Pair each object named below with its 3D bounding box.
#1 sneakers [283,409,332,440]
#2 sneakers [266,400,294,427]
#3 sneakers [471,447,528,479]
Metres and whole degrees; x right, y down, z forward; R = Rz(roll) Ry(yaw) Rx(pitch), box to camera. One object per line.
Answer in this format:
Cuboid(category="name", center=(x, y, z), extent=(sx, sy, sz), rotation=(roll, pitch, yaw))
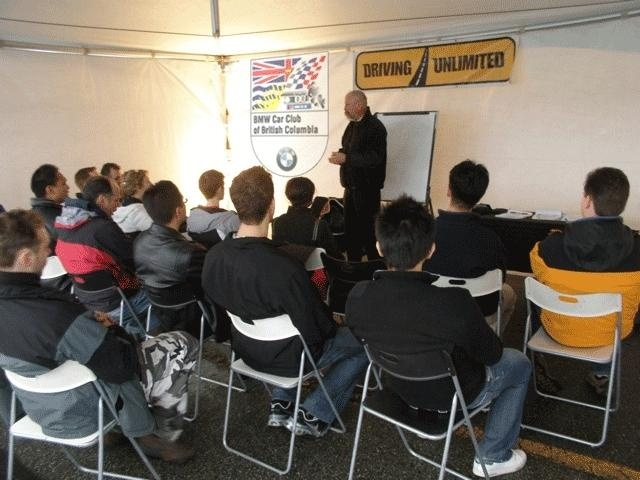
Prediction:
Cuboid(category="sneakers", center=(-0.080, 1.179, 3.328), extent=(0.294, 0.145, 0.160), rotation=(15, 1, -4))
Cuboid(category="sneakers", center=(-0.262, 1.141, 3.415), extent=(0.093, 0.122, 0.233), rotation=(3, 8, 17))
Cuboid(category="sneakers", center=(1.082, 1.334, 3.117), extent=(0.342, 0.178, 0.142), rotation=(-8, 13, -13))
